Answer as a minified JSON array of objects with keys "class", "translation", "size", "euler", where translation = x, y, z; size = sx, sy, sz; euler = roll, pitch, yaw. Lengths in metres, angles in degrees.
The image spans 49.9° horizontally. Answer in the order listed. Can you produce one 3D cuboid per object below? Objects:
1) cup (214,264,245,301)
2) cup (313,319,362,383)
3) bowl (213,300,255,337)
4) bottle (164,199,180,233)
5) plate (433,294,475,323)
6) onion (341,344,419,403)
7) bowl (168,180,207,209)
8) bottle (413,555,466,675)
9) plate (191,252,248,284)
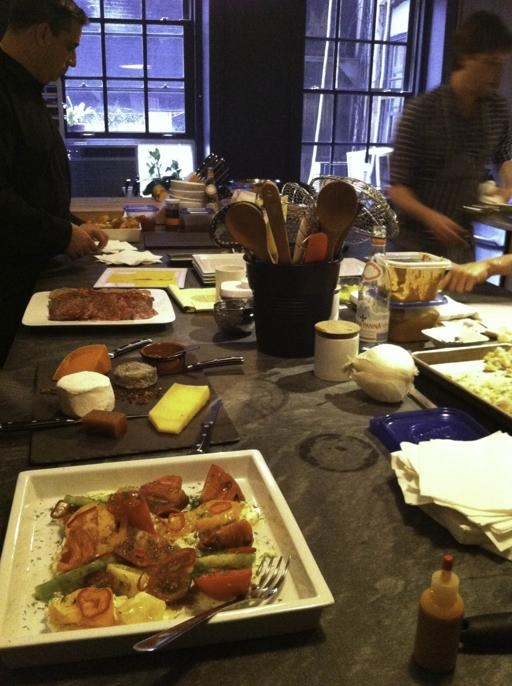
[{"class":"cup","translation":[-0.078,-0.189,1.606],"size":[0.073,0.091,0.111],"euler":[0,12,0]},{"class":"cup","translation":[0.159,0.017,1.169],"size":[0.120,0.123,0.114],"euler":[0,21,0]},{"class":"bowl","translation":[-0.062,-0.068,1.445],"size":[0.087,0.070,0.105],"euler":[-11,23,-28]},{"class":"bottle","translation":[-0.459,-0.706,3.044],"size":[0.080,0.160,0.224],"euler":[-2,19,-10]},{"class":"plate","translation":[0.541,-0.082,1.500],"size":[0.105,0.030,0.100],"euler":[-4,18,-20]},{"class":"onion","translation":[0.240,0.057,1.054],"size":[0.135,0.098,0.103],"euler":[15,29,27]},{"class":"bowl","translation":[-0.383,-0.834,3.105],"size":[0.192,0.131,0.179],"euler":[6,21,-2]},{"class":"bottle","translation":[0.158,0.223,0.461],"size":[0.041,0.124,0.033],"euler":[6,20,11]},{"class":"plate","translation":[-0.120,-0.242,1.807],"size":[0.160,0.055,0.177],"euler":[-1,17,-7]}]
